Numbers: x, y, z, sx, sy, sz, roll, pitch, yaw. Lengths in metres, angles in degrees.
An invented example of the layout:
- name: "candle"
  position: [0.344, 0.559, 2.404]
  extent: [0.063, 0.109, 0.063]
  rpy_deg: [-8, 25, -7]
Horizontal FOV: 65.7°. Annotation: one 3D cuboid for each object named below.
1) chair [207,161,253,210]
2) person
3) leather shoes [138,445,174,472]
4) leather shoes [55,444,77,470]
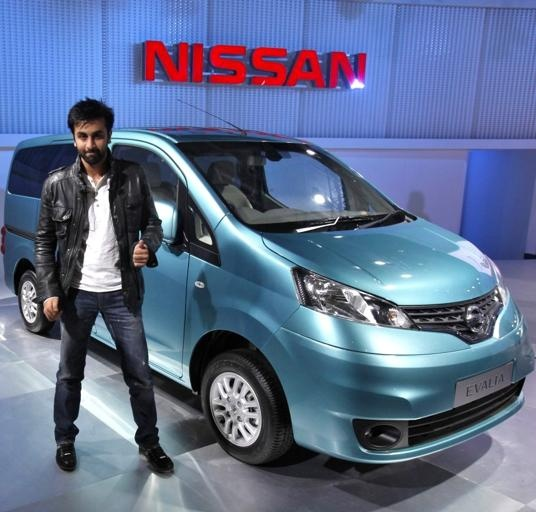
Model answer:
- name: "chair"
  position: [-0.213, -0.411, 2.342]
  extent: [0.270, 0.286, 0.351]
  rpy_deg: [-8, 14, -31]
- name: "person"
  position: [-0.716, 0.198, 1.852]
  extent: [0.599, 1.705, 0.395]
  rpy_deg: [1, 9, -11]
- name: "leather shoes"
  position: [-0.548, 0.981, 2.064]
  extent: [0.216, 0.070, 0.080]
  rpy_deg: [13, 11, 42]
- name: "leather shoes"
  position: [-0.981, 0.971, 2.020]
  extent: [0.066, 0.059, 0.168]
  rpy_deg: [-2, 7, -35]
